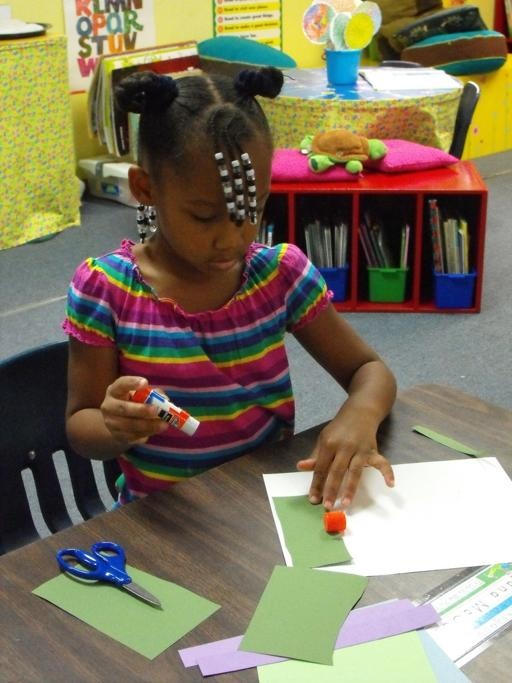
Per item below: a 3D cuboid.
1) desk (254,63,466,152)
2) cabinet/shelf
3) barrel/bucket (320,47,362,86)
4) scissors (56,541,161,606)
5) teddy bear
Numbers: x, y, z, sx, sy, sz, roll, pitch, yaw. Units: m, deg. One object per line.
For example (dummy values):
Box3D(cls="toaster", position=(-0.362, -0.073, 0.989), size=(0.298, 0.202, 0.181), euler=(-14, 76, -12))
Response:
Box3D(cls="desk", position=(0.562, -1.259, 3.035), size=(0.816, 0.271, 0.796), euler=(11, 27, 28))
Box3D(cls="cabinet/shelf", position=(0.654, -0.464, 3.211), size=(1.465, 0.704, 0.685), euler=(2, -6, 2))
Box3D(cls="barrel/bucket", position=(0.488, -1.581, 3.257), size=(0.225, 0.157, 0.199), euler=(3, 30, 10))
Box3D(cls="scissors", position=(-0.137, 0.223, 0.559), size=(0.136, 0.018, 0.053), euler=(7, 23, 26))
Box3D(cls="teddy bear", position=(0.440, -0.886, 2.691), size=(0.331, 0.245, 0.113), euler=(1, -13, 5))
